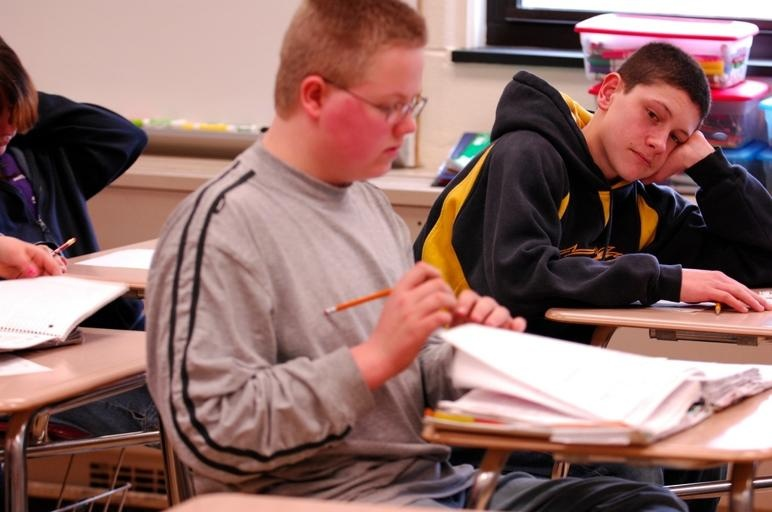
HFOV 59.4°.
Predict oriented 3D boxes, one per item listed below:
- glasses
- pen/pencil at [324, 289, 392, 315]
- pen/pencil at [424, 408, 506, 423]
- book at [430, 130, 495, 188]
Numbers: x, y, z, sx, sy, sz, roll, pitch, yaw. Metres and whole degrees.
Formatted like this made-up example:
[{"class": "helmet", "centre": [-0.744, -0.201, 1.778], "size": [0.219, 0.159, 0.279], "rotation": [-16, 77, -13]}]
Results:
[{"class": "glasses", "centre": [-0.013, -0.275, 1.237], "size": [0.109, 0.032, 0.103], "rotation": [30, 2, 1]}, {"class": "pen/pencil", "centre": [-0.059, 0.083, 1.216], "size": [0.158, 0.013, 0.017], "rotation": [-14, 16, 25]}, {"class": "pen/pencil", "centre": [0.125, 0.250, 1.055], "size": [0.072, 0.013, 0.019], "rotation": [4, -7, 4]}, {"class": "book", "centre": [0.320, -0.416, 2.812], "size": [0.063, 0.266, 0.265], "rotation": [42, -4, -3]}]
